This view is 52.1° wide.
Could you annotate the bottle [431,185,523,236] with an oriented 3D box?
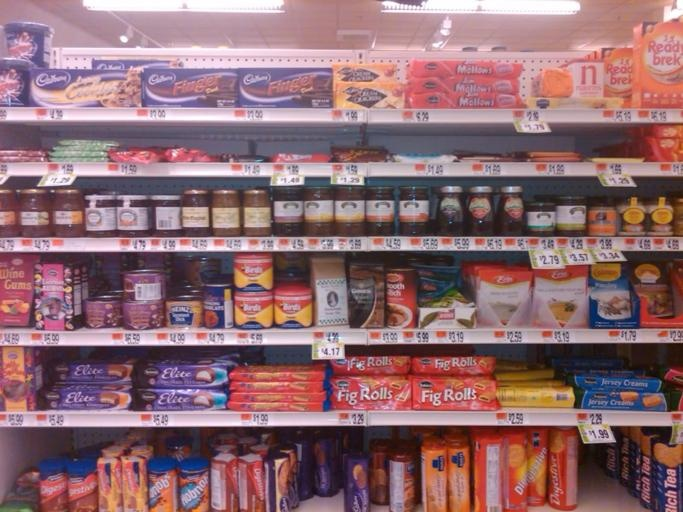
[{"bbox_3d":[0.757,-0.246,3.855,0.411,0.175,0.115,0,2,-1],"label":"bottle"}]
